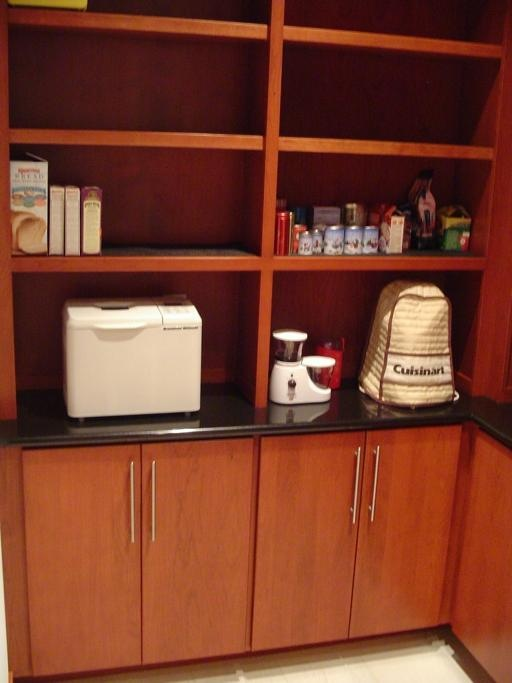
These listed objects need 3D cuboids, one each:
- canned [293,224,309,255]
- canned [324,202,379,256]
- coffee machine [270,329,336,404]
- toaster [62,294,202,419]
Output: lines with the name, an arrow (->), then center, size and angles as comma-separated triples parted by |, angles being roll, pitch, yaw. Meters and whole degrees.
canned -> 0.128, -0.330, 1.976 | 0.042, 0.099, 0.085 | 0, 8, 0
canned -> 0.307, -0.380, 2.043 | 0.202, 0.202, 0.134 | -5, 16, -19
coffee machine -> 0.126, 0.079, 2.101 | 0.221, 0.286, 0.161 | -3, 9, -16
toaster -> -0.362, 0.051, 1.833 | 0.384, 0.317, 0.267 | -2, 14, -23
